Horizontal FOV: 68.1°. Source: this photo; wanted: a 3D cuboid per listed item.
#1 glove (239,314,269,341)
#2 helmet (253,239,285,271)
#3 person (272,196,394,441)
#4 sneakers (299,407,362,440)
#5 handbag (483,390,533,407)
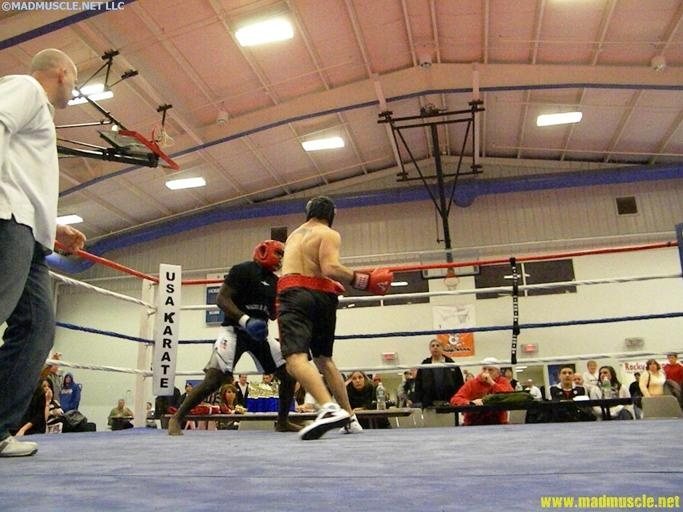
[{"bbox_3d":[-0.499,0.395,2.805,0.158,0.064,0.115,24,-11,39],"label":"glove"},{"bbox_3d":[-0.433,-0.009,3.081,0.254,0.155,0.170,-5,-11,7],"label":"helmet"},{"bbox_3d":[-0.047,0.244,2.485,0.446,1.192,0.570,-10,-20,28],"label":"person"},{"bbox_3d":[-0.062,0.691,2.109,0.200,0.150,0.168,3,-15,-11],"label":"sneakers"},{"bbox_3d":[1.146,0.995,3.508,0.191,0.044,0.170,-10,-11,41],"label":"handbag"}]
